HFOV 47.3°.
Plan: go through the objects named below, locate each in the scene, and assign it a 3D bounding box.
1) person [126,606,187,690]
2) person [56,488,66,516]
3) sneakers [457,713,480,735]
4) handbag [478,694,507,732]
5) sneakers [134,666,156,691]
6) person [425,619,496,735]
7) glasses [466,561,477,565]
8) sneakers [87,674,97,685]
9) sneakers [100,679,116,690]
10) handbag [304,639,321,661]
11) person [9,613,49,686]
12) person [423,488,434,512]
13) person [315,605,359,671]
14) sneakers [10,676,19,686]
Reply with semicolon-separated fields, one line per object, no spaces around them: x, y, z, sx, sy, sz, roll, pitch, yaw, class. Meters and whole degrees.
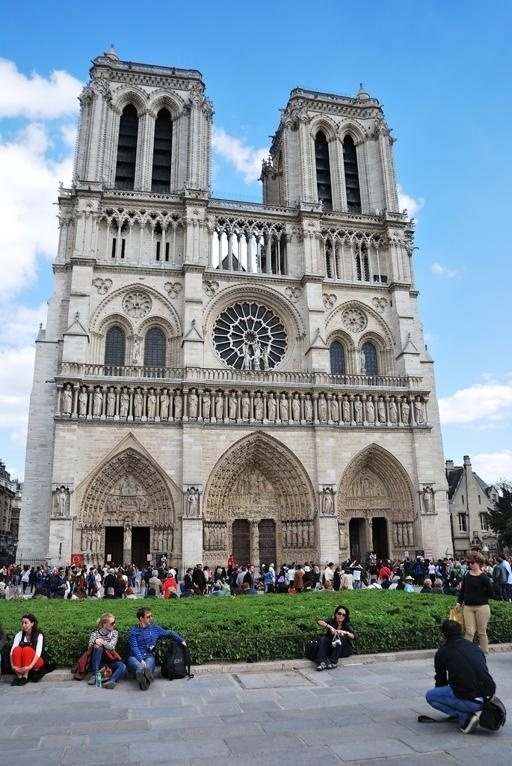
-1.603;3.857;8.610;0.689;0.986;0.920;-5;-15;15;person
-8.705;5.328;26.089;0.391;1.309;0.131;6;-16;-22;person
2.122;3.373;5.785;0.096;0.127;0.281;-1;-40;-18;sneakers
2.297;3.239;5.728;0.239;0.263;0.154;-2;-15;6;handbag
-1.559;4.122;8.136;0.195;0.318;0.129;-5;-3;-23;sneakers
2.073;2.982;5.945;0.377;0.998;0.611;10;-18;-35;person
3.177;2.682;8.640;0.061;0.045;0.115;4;-15;-15;glasses
-2.423;4.356;8.546;0.085;0.106;0.249;8;-31;-13;sneakers
-2.110;4.280;8.279;0.083;0.107;0.250;-4;-19;24;sneakers
0.937;4.521;9.855;0.283;0.381;0.209;4;-50;10;handbag
-3.389;3.954;8.728;0.501;0.945;0.362;9;-18;-31;person
9.064;6.165;30.862;0.598;1.358;0.176;4;-16;-18;person
1.297;4.275;9.877;0.506;0.908;1.031;-13;-19;39;person
-3.519;4.325;8.460;0.100;0.082;0.197;7;-17;-27;sneakers
